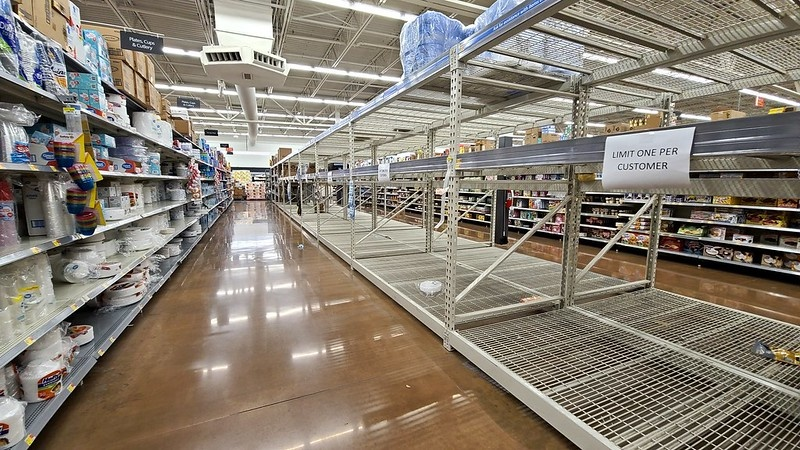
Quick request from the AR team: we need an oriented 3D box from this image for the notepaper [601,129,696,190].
[{"bbox_3d":[2.083,-0.534,3.441,0.099,0.517,0.778,-8,10,-24],"label":"notepaper"}]
